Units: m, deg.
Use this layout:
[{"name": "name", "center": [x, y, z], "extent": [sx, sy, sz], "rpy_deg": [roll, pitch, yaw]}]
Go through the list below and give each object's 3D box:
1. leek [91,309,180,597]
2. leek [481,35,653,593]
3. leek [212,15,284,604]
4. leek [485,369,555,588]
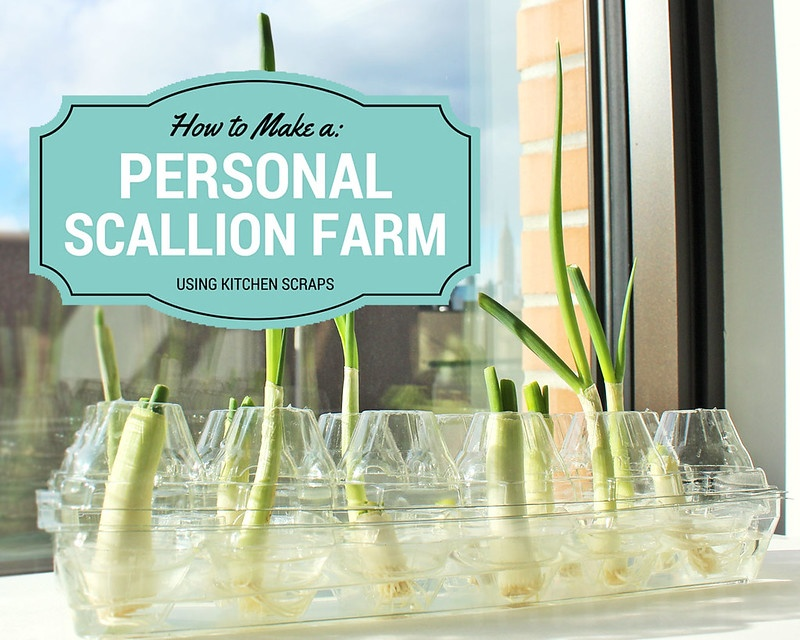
[{"name": "leek", "center": [-0.272, 0.112, 0.875], "extent": [0.074, 0.308, 0.065], "rpy_deg": [-22, 49, -39]}, {"name": "leek", "center": [0.198, 0.015, 0.998], "extent": [0.162, 0.665, 0.156], "rpy_deg": [-6, 23, 19]}, {"name": "leek", "center": [-0.157, -0.007, 0.949], "extent": [0.062, 0.668, 0.051], "rpy_deg": [-1, -7, 19]}, {"name": "leek", "center": [0.136, 0.181, 0.973], "extent": [0.061, 0.274, 0.067], "rpy_deg": [-1, 13, 20]}]
